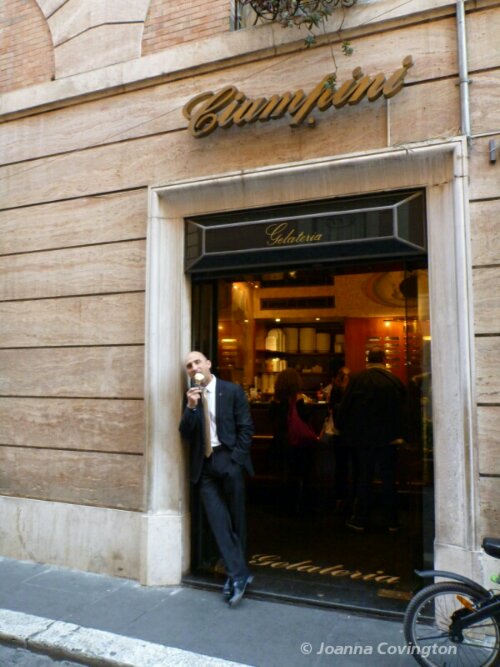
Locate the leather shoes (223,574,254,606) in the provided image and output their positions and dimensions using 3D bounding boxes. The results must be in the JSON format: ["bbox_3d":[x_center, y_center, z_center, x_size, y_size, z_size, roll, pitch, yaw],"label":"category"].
[{"bbox_3d":[-0.108,2.024,5.859,0.107,0.136,0.309,-50,-14,20],"label":"leather shoes"}]

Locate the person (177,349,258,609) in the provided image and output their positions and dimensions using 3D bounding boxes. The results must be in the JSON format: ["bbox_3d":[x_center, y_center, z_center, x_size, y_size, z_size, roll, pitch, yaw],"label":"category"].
[{"bbox_3d":[-0.283,1.135,6.062,0.602,1.932,0.799,-1,3,2],"label":"person"}]

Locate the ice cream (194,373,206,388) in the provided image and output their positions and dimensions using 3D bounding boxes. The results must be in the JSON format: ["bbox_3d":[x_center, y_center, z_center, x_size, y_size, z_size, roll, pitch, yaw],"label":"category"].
[{"bbox_3d":[-0.408,0.382,6.013,0.099,0.096,0.116,-2,14,-1],"label":"ice cream"}]
